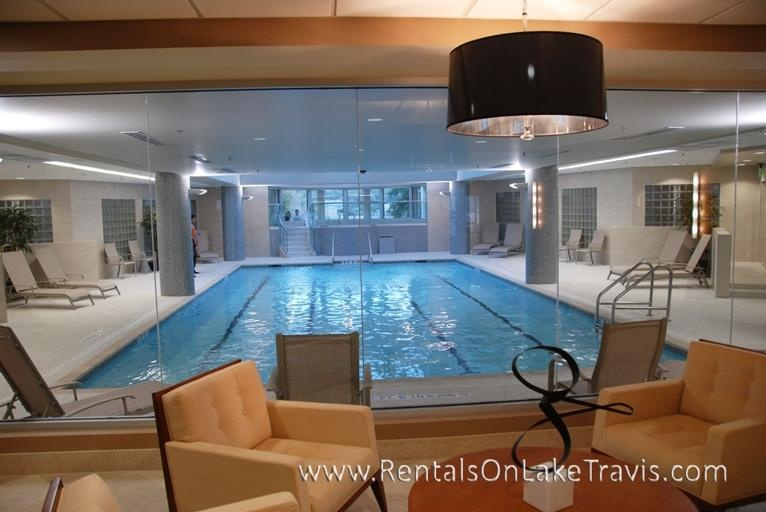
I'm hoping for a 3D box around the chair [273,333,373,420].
[{"bbox_3d":[-0.608,1.153,5.047,0.889,1.060,0.746,0,2,-5],"label":"chair"}]

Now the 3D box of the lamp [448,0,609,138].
[{"bbox_3d":[0.953,-1.203,3.421,1.065,1.090,1.036,1,4,20],"label":"lamp"}]

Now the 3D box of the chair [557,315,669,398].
[{"bbox_3d":[2.485,1.054,5.291,0.810,1.139,0.860,0,2,-3],"label":"chair"}]

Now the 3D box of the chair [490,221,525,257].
[{"bbox_3d":[1.415,-0.181,5.619,0.213,0.325,0.540,1,6,29],"label":"chair"}]

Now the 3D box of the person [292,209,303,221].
[{"bbox_3d":[-3.127,-1.489,17.832,0.223,0.441,1.158,-6,7,-16],"label":"person"}]

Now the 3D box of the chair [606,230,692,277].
[{"bbox_3d":[3.050,-0.051,5.618,0.862,0.553,0.507,1,3,3],"label":"chair"}]

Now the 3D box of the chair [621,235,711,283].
[{"bbox_3d":[3.295,0.071,5.680,0.903,0.544,0.425,-3,5,19],"label":"chair"}]

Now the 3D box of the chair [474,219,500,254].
[{"bbox_3d":[1.318,-0.183,6.102,0.230,0.254,0.421,2,12,42],"label":"chair"}]

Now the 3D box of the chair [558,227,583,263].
[{"bbox_3d":[2.150,-0.115,5.654,0.258,0.354,0.203,-2,2,-13],"label":"chair"}]

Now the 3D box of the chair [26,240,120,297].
[{"bbox_3d":[-3.329,0.176,5.277,0.783,0.462,0.320,3,9,5],"label":"chair"}]
